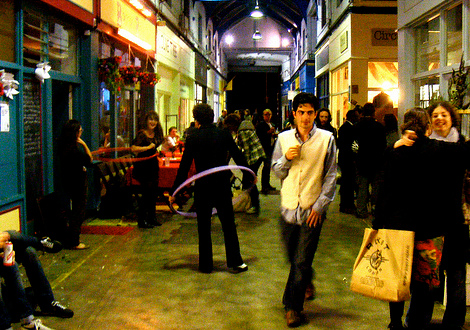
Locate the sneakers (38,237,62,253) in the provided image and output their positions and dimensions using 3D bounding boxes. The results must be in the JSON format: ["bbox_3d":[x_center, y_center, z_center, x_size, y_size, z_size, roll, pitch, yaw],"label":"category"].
[{"bbox_3d":[-2.186,0.945,4.913,0.199,0.160,0.445,39,-19,-21],"label":"sneakers"}]

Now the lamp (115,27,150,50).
[{"bbox_3d":[-2.611,-3.176,10.443,0.145,0.060,1.154,37,14,9],"label":"lamp"}]

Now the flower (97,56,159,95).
[{"bbox_3d":[-2.465,-1.973,9.218,0.675,0.437,1.016,0,-8,9],"label":"flower"}]

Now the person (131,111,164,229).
[{"bbox_3d":[-1.542,0.082,7.440,0.519,2.066,0.510,-2,8,-11],"label":"person"}]

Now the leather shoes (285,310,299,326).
[{"bbox_3d":[0.594,1.537,4.187,0.154,0.172,0.095,1,8,5],"label":"leather shoes"}]

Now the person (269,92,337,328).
[{"bbox_3d":[0.730,0.426,4.319,0.596,2.327,0.530,-3,9,-17],"label":"person"}]

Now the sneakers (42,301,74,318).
[{"bbox_3d":[-1.863,1.524,4.456,0.410,0.178,0.139,3,4,-7],"label":"sneakers"}]

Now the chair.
[{"bbox_3d":[-2.224,0.335,7.948,0.346,0.667,0.980,0,10,9],"label":"chair"}]

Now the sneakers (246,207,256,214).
[{"bbox_3d":[0.337,0.935,8.551,0.132,0.052,0.130,-5,17,-45],"label":"sneakers"}]

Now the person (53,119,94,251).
[{"bbox_3d":[-2.452,0.297,6.367,0.489,1.958,0.425,-4,9,-23],"label":"person"}]
